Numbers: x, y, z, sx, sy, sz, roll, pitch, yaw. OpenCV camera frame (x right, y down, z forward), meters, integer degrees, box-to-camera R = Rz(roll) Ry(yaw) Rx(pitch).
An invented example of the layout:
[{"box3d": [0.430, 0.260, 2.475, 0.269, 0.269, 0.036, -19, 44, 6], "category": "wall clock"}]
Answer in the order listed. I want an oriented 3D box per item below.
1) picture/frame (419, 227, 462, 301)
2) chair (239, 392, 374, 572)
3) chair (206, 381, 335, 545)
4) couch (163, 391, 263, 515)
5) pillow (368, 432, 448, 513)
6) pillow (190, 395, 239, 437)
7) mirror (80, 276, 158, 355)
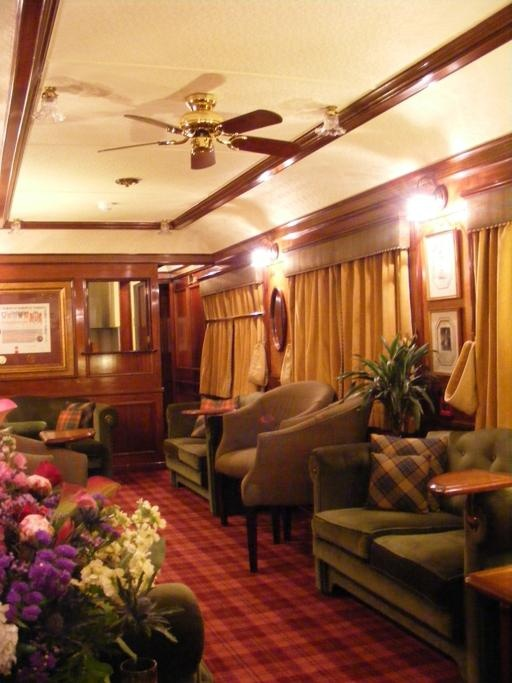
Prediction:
[{"box3d": [1.401, -0.569, 3.957, 0.036, 0.513, 0.345, -1, -3, -21], "category": "picture/frame"}, {"box3d": [0.326, 1.154, 4.466, 1.193, 1.508, 1.178, 3, -12, -10], "category": "chair"}, {"box3d": [0.238, 1.013, 5.023, 1.304, 1.560, 1.225, 3, -5, -24], "category": "chair"}, {"box3d": [-0.388, 1.142, 6.191, 1.191, 1.495, 1.453, 5, -8, -27], "category": "couch"}, {"box3d": [0.898, 0.781, 3.083, 0.407, 0.367, 0.213, -4, -26, 26], "category": "pillow"}, {"box3d": [-0.442, 0.791, 5.546, 0.512, 0.476, 0.182, 1, -5, 44], "category": "pillow"}, {"box3d": [-2.042, -0.358, 7.637, 1.206, 1.378, 0.098, -1, 0, -15], "category": "mirror"}]
